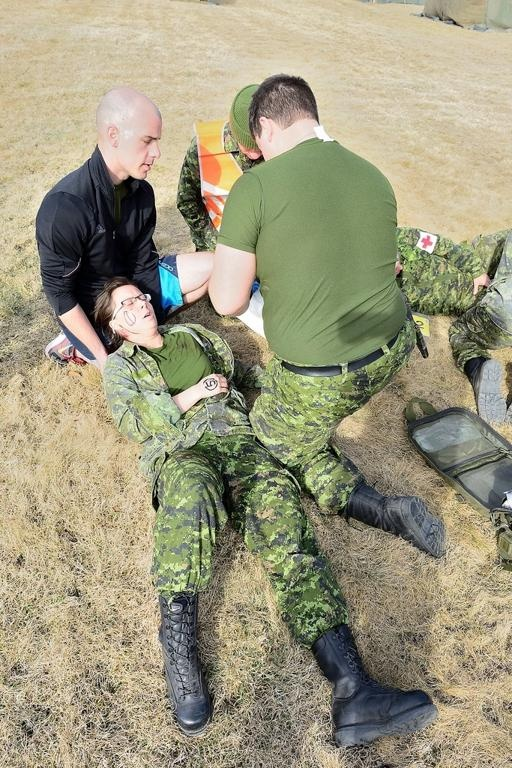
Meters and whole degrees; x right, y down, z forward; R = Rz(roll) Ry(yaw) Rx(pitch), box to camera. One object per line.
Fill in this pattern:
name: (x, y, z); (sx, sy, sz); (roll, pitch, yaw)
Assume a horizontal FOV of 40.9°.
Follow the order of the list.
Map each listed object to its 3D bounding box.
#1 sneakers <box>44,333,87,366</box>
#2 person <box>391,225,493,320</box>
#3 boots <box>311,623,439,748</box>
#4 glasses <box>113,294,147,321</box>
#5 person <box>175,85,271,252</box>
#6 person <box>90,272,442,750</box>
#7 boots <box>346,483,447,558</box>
sneakers: (-1.230, -0.191, 4.364); (0.173, 0.375, 0.148); (32, 71, -24)
person: (1.252, -0.918, 5.416); (0.833, 0.265, 1.113); (3, -3, 9)
boots: (0.423, 1.305, 2.862); (0.313, 0.298, 0.538); (-23, 46, -33)
glasses: (-0.669, -0.373, 3.584); (0.144, 0.146, 0.044); (-16, 75, -55)
person: (-0.133, -1.413, 4.789); (0.672, 1.191, 0.673); (-3, 54, -18)
person: (-0.238, 0.653, 3.465); (1.531, 0.536, 2.198); (-20, 72, -26)
boots: (0.708, 0.671, 3.405); (0.635, 0.221, 0.265); (23, 3, 16)
